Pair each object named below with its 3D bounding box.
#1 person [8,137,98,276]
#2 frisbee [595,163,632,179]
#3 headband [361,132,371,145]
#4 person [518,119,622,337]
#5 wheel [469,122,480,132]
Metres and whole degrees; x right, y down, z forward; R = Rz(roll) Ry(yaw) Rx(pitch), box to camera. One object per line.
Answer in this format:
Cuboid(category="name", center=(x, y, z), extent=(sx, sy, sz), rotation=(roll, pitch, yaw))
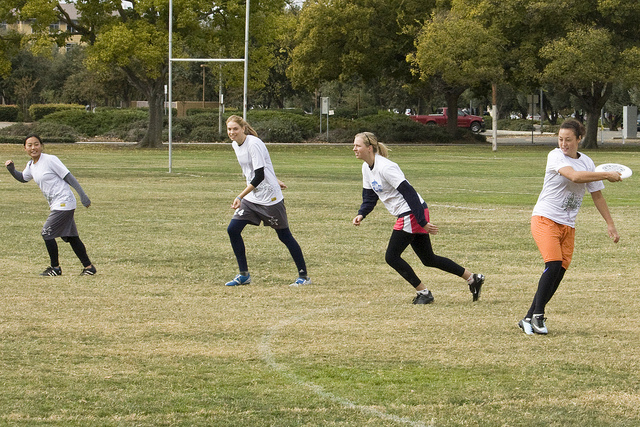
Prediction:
Cuboid(category="person", center=(-3.990, -0.110, 15.622), extent=(1.051, 2.131, 0.357), rotation=(-2, 4, -5))
Cuboid(category="frisbee", center=(3.841, -0.549, 13.286), extent=(0.443, 0.195, 0.522), rotation=(0, 4, 13))
Cuboid(category="headband", center=(0.656, -1.041, 14.185), extent=(0.063, 0.176, 0.210), rotation=(-1, 3, -15))
Cuboid(category="person", center=(3.238, 0.179, 13.303), extent=(1.281, 2.789, 0.574), rotation=(-2, 4, 2))
Cuboid(category="wheel", center=(11.342, -6.287, 73.710), extent=(0.610, 0.677, 1.086), rotation=(-1, 4, 11))
